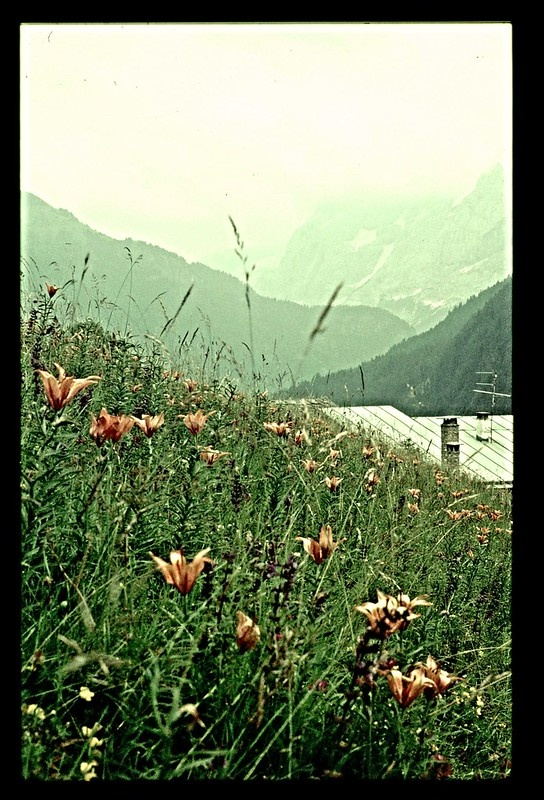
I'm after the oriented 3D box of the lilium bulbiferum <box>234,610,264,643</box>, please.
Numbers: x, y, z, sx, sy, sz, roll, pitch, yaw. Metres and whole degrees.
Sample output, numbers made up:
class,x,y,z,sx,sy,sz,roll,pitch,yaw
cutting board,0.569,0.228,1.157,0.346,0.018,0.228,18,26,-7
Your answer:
class,x,y,z,sx,sy,sz,roll,pitch,yaw
lilium bulbiferum,-0.061,0.542,1.795,0.041,0.075,0.109,4,1,27

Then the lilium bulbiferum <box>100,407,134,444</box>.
class,x,y,z,sx,sy,sz,roll,pitch,yaw
lilium bulbiferum,-0.408,0.053,1.971,0.075,0.076,0.086,1,6,26

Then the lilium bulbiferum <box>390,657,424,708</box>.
class,x,y,z,sx,sy,sz,roll,pitch,yaw
lilium bulbiferum,0.307,0.664,1.781,0.083,0.095,0.091,15,-5,35

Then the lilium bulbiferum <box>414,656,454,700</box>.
class,x,y,z,sx,sy,sz,roll,pitch,yaw
lilium bulbiferum,0.395,0.660,1.818,0.098,0.075,0.105,35,-6,30

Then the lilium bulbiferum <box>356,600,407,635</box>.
class,x,y,z,sx,sy,sz,roll,pitch,yaw
lilium bulbiferum,0.243,0.469,1.675,0.076,0.053,0.082,-3,10,41

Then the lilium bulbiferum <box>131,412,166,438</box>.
class,x,y,z,sx,sy,sz,roll,pitch,yaw
lilium bulbiferum,-0.344,0.071,2.077,0.073,0.063,0.076,-22,-12,33

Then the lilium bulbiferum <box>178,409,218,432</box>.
class,x,y,z,sx,sy,sz,roll,pitch,yaw
lilium bulbiferum,-0.209,0.055,2.116,0.076,0.069,0.089,-8,1,17

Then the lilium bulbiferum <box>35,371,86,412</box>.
class,x,y,z,sx,sy,sz,roll,pitch,yaw
lilium bulbiferum,-0.539,-0.030,1.889,0.095,0.110,0.105,20,2,-29
